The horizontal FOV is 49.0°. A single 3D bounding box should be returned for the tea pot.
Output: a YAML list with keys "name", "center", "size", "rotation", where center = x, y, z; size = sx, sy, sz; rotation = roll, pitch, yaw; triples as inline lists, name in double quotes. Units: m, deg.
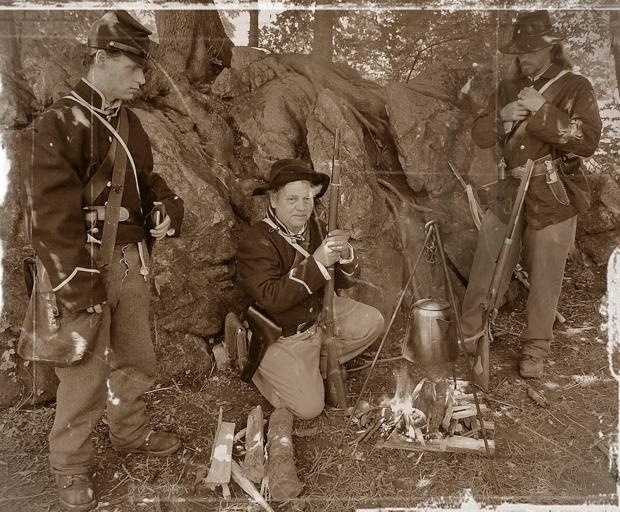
- name: "tea pot"
  center: [0.947, 0.571, 5.222]
  size: [0.447, 0.503, 0.445]
  rotation: [2, -1, 0]

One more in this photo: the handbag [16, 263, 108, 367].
- name: "handbag"
  center: [-1.686, 0.412, 4.691]
  size: [0.632, 0.840, 0.454]
  rotation: [9, 7, 12]

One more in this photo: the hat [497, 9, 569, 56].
- name: "hat"
  center: [1.922, -1.945, 5.973]
  size: [0.435, 0.240, 0.436]
  rotation: [-11, 28, 27]

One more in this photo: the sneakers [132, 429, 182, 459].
- name: "sneakers"
  center: [-1.175, 1.446, 5.250]
  size: [0.348, 0.144, 0.164]
  rotation: [-4, 35, -1]

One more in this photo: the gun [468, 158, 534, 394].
- name: "gun"
  center: [1.582, 0.214, 5.695]
  size: [0.240, 1.913, 1.028]
  rotation: [9, 23, 16]

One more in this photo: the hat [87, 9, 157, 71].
- name: "hat"
  center: [-1.332, -1.542, 4.844]
  size: [0.589, 0.332, 0.466]
  rotation: [19, 14, 24]

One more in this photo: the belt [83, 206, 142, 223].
- name: "belt"
  center: [-1.440, -0.300, 4.834]
  size: [0.217, 0.078, 0.126]
  rotation: [1, -23, -28]

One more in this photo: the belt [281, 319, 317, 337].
- name: "belt"
  center: [-0.122, 0.581, 5.787]
  size: [0.188, 0.119, 0.144]
  rotation: [-19, -5, -46]
